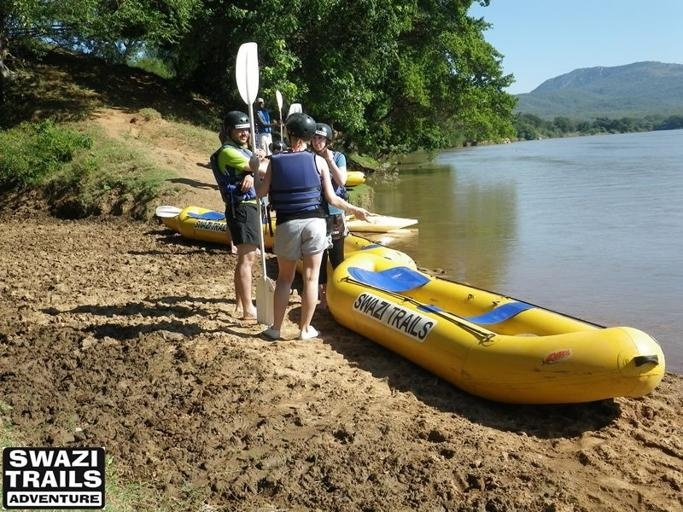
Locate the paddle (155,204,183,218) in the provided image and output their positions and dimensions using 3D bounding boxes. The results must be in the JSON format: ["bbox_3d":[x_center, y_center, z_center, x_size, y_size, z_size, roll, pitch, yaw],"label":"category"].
[{"bbox_3d":[-3.667,-0.928,13.520,0.638,0.096,0.277,-2,50,-1],"label":"paddle"}]

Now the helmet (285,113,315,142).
[{"bbox_3d":[-0.501,-1.520,7.474,0.320,0.315,0.350,-14,45,-24],"label":"helmet"}]

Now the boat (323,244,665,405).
[{"bbox_3d":[1.403,0.770,8.091,1.838,0.717,4.187,-3,10,-35],"label":"boat"}]

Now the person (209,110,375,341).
[{"bbox_3d":[-0.490,-0.233,7.626,1.046,2.866,0.555,-4,17,-6],"label":"person"}]
